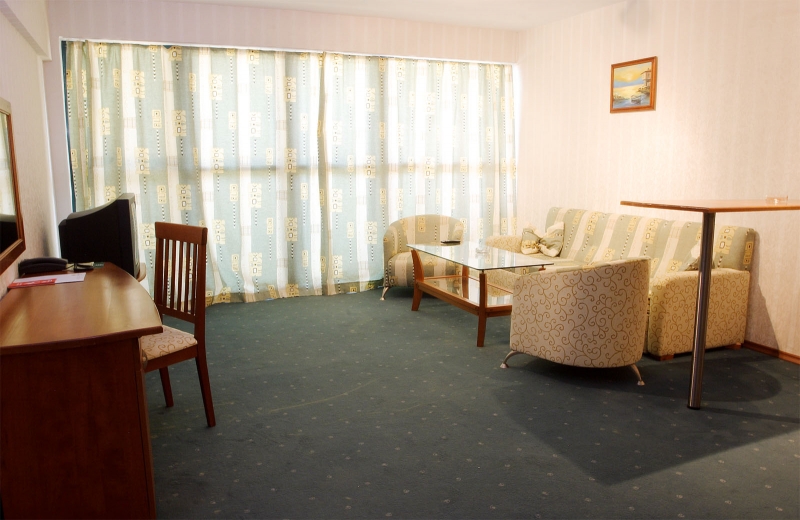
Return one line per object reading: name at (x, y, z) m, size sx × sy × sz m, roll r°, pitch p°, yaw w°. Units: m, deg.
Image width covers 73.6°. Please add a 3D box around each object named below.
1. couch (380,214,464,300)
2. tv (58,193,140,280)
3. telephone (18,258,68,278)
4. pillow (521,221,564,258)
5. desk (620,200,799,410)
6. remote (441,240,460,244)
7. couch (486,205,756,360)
couch at (0.125, -0.039, 6.349) m, size 1.220 × 1.029 × 0.989 m, roll 1°, pitch -1°, yaw -3°
tv at (-2.221, -0.175, 4.174) m, size 0.714 × 0.643 × 0.722 m, roll -2°, pitch 8°, yaw -29°
telephone at (-2.395, 0.055, 3.568) m, size 0.196 × 0.065 × 0.177 m, roll -3°, pitch 5°, yaw -15°
pillow at (1.550, -0.226, 5.887) m, size 0.472 × 0.380 × 0.158 m, roll 2°, pitch -7°, yaw 42°
desk at (2.080, 0.307, 3.624) m, size 0.984 × 1.405 × 0.503 m, roll -6°, pitch 15°, yaw -19°
remote at (0.560, -0.198, 5.974) m, size 0.210 × 0.039 × 0.298 m, roll 0°, pitch 12°, yaw 4°
couch at (1.881, 0.220, 4.398) m, size 0.725 × 0.582 × 1.494 m, roll -3°, pitch 6°, yaw -18°
